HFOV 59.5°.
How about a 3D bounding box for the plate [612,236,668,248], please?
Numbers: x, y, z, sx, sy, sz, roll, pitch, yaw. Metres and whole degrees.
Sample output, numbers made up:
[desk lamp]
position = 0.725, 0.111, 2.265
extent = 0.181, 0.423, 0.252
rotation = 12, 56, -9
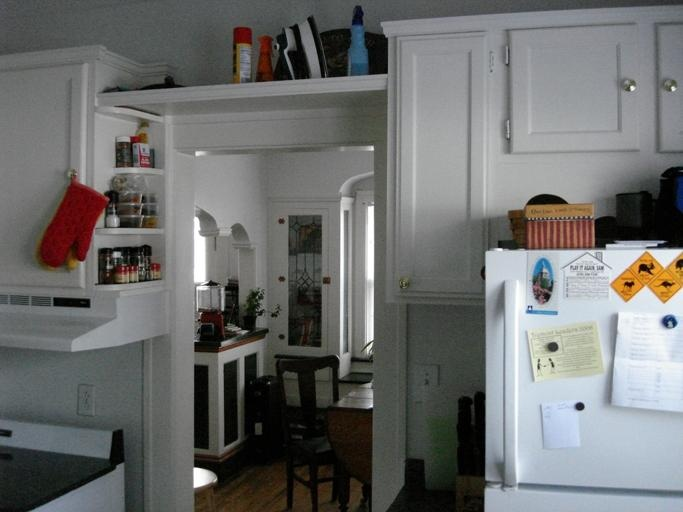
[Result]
[plate]
position = 0.987, -0.041, 1.987
extent = 0.166, 0.021, 0.255
rotation = -2, -1, 29

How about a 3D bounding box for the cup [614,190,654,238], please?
[cup]
position = 1.142, -0.155, 2.317
extent = 0.156, 0.147, 0.111
rotation = -2, -1, 2

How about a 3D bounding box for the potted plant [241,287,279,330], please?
[potted plant]
position = -0.686, 0.479, 5.509
extent = 0.374, 0.375, 0.265
rotation = 2, -1, 10

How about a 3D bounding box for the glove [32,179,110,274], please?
[glove]
position = -1.223, -0.149, 2.690
extent = 0.377, 0.411, 0.087
rotation = -2, -1, 21

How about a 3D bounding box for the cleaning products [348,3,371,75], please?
[cleaning products]
position = 0.068, -0.890, 2.545
extent = 0.089, 0.298, 0.196
rotation = -2, -1, 3

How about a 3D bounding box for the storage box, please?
[storage box]
position = 0.731, -0.099, 2.056
extent = 0.248, 0.128, 0.182
rotation = 0, 0, 18
